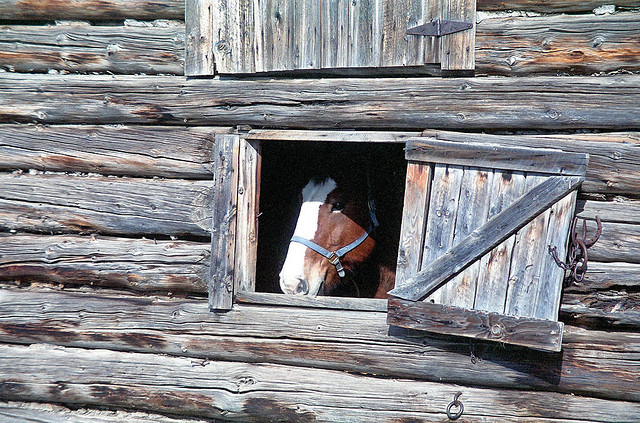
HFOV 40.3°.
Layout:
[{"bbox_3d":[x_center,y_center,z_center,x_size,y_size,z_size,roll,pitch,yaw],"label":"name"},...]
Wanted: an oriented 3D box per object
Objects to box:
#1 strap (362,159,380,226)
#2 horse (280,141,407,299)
[{"bbox_3d":[0.422,-0.157,7.785,0.107,0.562,0.098,-9,-18,0],"label":"strap"},{"bbox_3d":[0.221,0.110,7.688,0.997,1.675,0.950,5,-49,2],"label":"horse"}]
